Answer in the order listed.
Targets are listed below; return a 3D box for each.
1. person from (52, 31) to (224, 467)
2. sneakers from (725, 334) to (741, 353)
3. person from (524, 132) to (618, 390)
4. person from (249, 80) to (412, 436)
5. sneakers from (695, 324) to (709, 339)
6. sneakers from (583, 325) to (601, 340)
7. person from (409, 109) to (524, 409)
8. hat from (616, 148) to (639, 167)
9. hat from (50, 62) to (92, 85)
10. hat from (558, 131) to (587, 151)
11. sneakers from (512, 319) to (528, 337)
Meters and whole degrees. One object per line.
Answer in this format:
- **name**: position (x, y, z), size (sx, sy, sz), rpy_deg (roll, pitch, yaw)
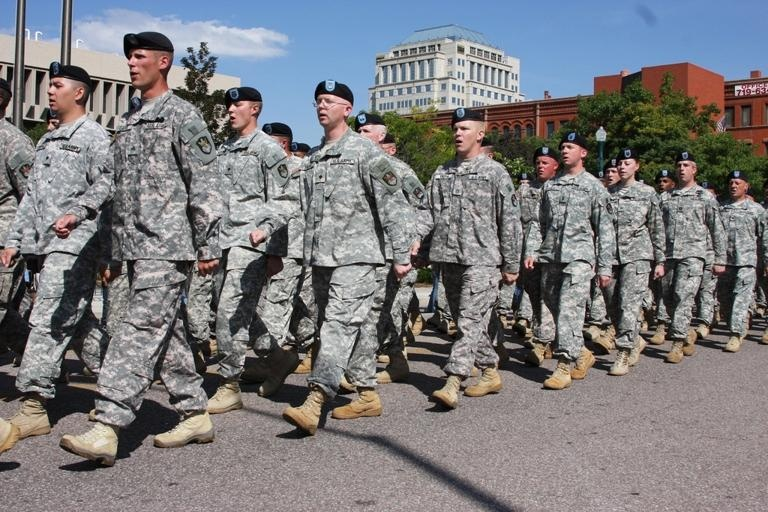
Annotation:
- **person**: position (-1.819, -0.100, 5.219), size (0.962, 3.309, 1.036), rpy_deg (5, 7, 12)
- **sneakers**: position (5.665, 1.425, 10.821), size (0.232, 0.232, 0.528), rpy_deg (6, 7, 24)
- **person**: position (2.187, -0.011, 8.156), size (1.015, 3.013, 1.237), rpy_deg (8, 8, 33)
- **person**: position (-0.241, -0.012, 6.032), size (1.015, 3.126, 1.076), rpy_deg (2, 7, -7)
- **sneakers**: position (5.784, 1.359, 12.075), size (0.214, 0.228, 0.594), rpy_deg (2, 2, 24)
- **sneakers**: position (3.408, 1.265, 11.017), size (0.217, 0.219, 0.591), rpy_deg (1, -9, 34)
- **person**: position (0.758, -0.043, 7.116), size (1.089, 3.069, 1.158), rpy_deg (7, 8, 29)
- **hat**: position (3.595, -1.478, 9.953), size (0.336, 0.219, 0.247), rpy_deg (-17, 17, -42)
- **hat**: position (-2.935, -1.758, 6.278), size (0.337, 0.111, 0.263), rpy_deg (5, -2, -35)
- **hat**: position (2.454, -1.486, 8.631), size (0.427, 0.204, 0.551), rpy_deg (4, 7, 18)
- **sneakers**: position (2.391, 1.276, 11.653), size (0.204, 0.192, 0.498), rpy_deg (6, -14, 17)
